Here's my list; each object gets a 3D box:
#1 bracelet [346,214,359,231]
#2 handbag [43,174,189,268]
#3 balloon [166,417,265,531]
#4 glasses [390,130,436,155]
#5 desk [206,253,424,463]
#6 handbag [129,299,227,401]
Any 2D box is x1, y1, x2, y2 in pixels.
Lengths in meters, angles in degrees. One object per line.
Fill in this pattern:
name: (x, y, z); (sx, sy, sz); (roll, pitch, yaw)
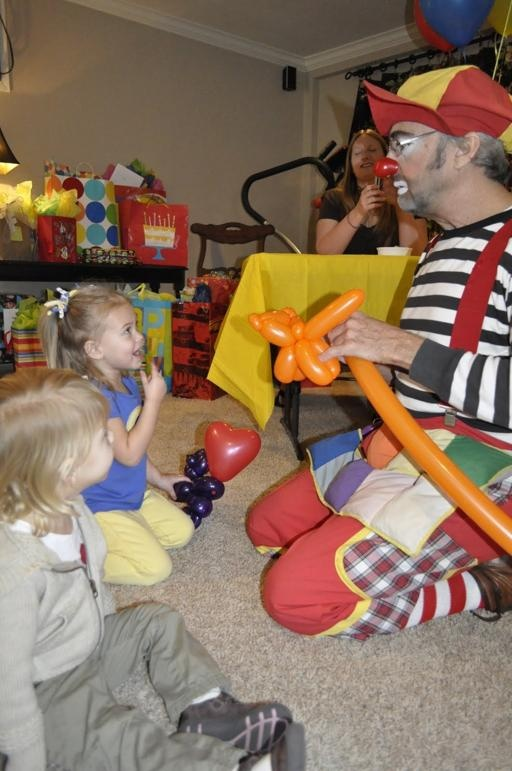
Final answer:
bracelet: (0.353, -0.596, 2.202); (0.045, 0.057, 0.022); (-10, -9, 20)
handbag: (-0.721, -0.811, 3.040); (0.576, 0.371, 0.204); (13, 46, -3)
balloon: (-0.117, 0.265, 1.766); (0.168, 0.291, 0.163); (20, 9, -42)
glasses: (0.288, -0.462, 1.147); (0.053, 0.016, 0.049); (-22, 24, 0)
desk: (0.153, -0.127, 2.055); (0.660, 0.421, 0.556); (0, 12, -2)
handbag: (-0.314, -0.170, 2.520); (0.477, 0.436, 0.167); (2, 20, 9)
